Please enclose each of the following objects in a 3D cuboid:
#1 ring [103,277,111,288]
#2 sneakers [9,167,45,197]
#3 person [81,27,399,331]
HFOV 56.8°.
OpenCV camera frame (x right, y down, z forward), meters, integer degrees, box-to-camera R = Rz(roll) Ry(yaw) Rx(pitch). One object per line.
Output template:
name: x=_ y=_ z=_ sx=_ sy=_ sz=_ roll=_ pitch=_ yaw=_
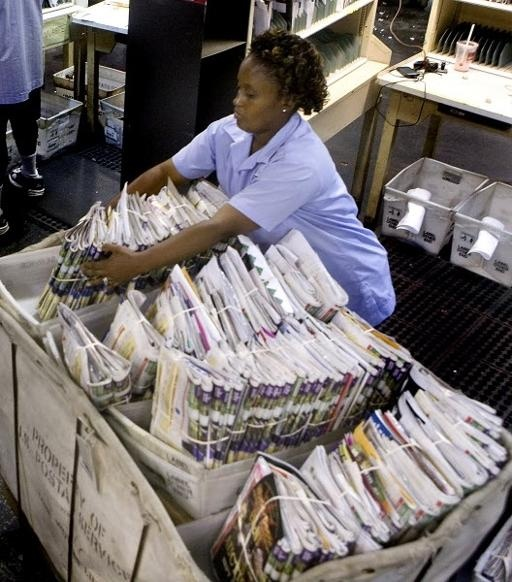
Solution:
ring: x=-0.406 y=-0.024 z=1.295 sx=0.020 sy=0.012 sz=0.038 roll=26 pitch=40 yaw=-52
sneakers: x=-1.819 y=-0.876 z=3.759 sx=0.361 sy=0.150 sz=0.160 roll=40 pitch=37 yaw=27
person: x=0.061 y=-0.352 z=1.735 sx=1.241 sy=1.043 sz=0.788 roll=-4 pitch=35 yaw=-22
